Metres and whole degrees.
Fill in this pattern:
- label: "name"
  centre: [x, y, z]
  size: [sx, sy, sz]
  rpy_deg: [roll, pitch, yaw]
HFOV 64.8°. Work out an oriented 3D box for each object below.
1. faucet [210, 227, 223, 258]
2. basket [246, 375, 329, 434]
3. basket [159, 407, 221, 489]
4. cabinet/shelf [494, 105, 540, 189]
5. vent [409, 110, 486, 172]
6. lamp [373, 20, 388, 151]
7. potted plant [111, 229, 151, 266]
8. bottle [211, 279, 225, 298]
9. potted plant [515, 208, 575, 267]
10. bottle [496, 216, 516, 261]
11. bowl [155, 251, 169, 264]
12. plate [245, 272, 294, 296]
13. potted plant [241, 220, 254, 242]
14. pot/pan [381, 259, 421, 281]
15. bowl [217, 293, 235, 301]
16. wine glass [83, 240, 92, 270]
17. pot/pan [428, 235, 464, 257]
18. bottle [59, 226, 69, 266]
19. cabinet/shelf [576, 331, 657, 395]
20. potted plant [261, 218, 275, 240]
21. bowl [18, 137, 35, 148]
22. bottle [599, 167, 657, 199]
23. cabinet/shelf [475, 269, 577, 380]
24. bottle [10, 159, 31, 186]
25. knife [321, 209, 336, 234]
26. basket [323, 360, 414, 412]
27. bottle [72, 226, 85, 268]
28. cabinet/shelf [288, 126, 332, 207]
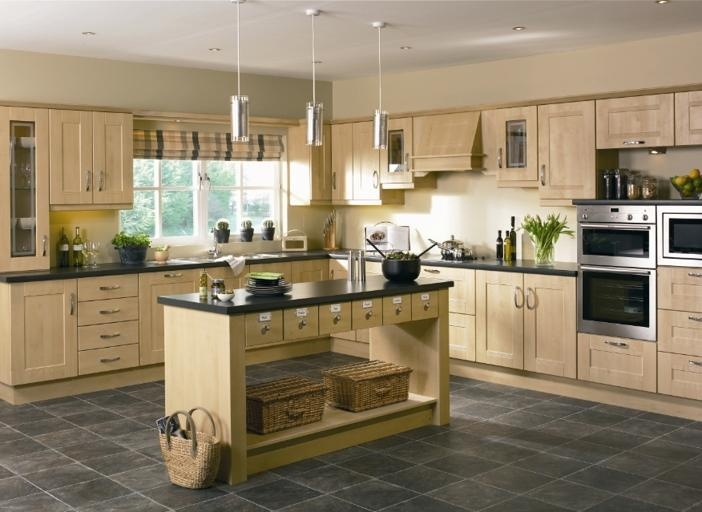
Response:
- label: "faucet"
  centre: [-1.589, -0.162, 6.512]
  size: [0.123, 0.328, 0.336]
  rpy_deg: [-2, 5, -13]
- label: "basket"
  centre: [-0.508, 1.055, 3.937]
  size: [0.610, 0.263, 0.339]
  rpy_deg: [-4, 6, -36]
- label: "basket"
  centre: [-1.008, 1.202, 3.529]
  size: [0.483, 0.374, 0.277]
  rpy_deg: [-3, -4, 33]
- label: "cabinet/shelf"
  centre: [1.820, -1.103, 5.682]
  size: [0.466, 0.759, 0.531]
  rpy_deg: [-11, 12, -41]
- label: "vent"
  centre: [1.194, -1.279, 6.160]
  size: [0.460, 0.740, 1.124]
  rpy_deg: [2, 3, -37]
- label: "lamp"
  centre: [0.201, -1.227, 4.002]
  size: [0.148, 0.891, 0.131]
  rpy_deg: [2, 6, 17]
- label: "potted plant"
  centre: [-2.438, -0.066, 5.904]
  size: [0.501, 0.297, 0.368]
  rpy_deg: [3, 3, -10]
- label: "bottle"
  centre: [-0.882, 0.218, 3.739]
  size: [0.126, 0.107, 0.110]
  rpy_deg: [0, 3, -5]
- label: "potted plant"
  centre: [1.989, -0.148, 5.656]
  size: [0.583, 0.484, 0.578]
  rpy_deg: [6, -5, -33]
- label: "bottle"
  centre: [1.671, -0.197, 5.924]
  size: [0.208, 0.459, 0.270]
  rpy_deg: [1, 5, 15]
- label: "bowl"
  centre: [-2.062, 0.013, 6.022]
  size: [0.150, 0.083, 0.127]
  rpy_deg: [0, 1, -21]
- label: "plate"
  centre: [-0.555, 0.193, 3.920]
  size: [0.218, 0.078, 0.205]
  rpy_deg: [2, 3, 27]
- label: "potted plant"
  centre: [-1.304, -0.317, 6.933]
  size: [0.163, 0.265, 0.211]
  rpy_deg: [-1, 5, -10]
- label: "pot/pan"
  centre: [0.408, 0.090, 4.522]
  size: [0.274, 0.115, 0.221]
  rpy_deg: [-1, 5, -21]
- label: "bowl"
  centre: [-0.825, 0.267, 3.634]
  size: [0.103, 0.048, 0.123]
  rpy_deg: [-1, 4, -14]
- label: "wine glass"
  centre: [-2.658, -0.020, 5.604]
  size: [0.118, 0.241, 0.318]
  rpy_deg: [-3, 5, -26]
- label: "pot/pan"
  centre: [1.132, -0.108, 6.192]
  size: [0.468, 0.211, 0.298]
  rpy_deg: [-1, 4, -35]
- label: "bottle"
  centre: [-2.895, -0.089, 5.576]
  size: [0.104, 0.379, 0.206]
  rpy_deg: [-3, 5, -23]
- label: "cabinet/shelf"
  centre: [2.518, 0.948, 4.942]
  size: [0.487, 0.432, 0.788]
  rpy_deg: [2, -2, -31]
- label: "potted plant"
  centre: [-1.060, -0.327, 7.075]
  size: [0.154, 0.263, 0.115]
  rpy_deg: [-2, 5, -17]
- label: "bowl"
  centre: [-3.046, -1.055, 5.175]
  size: [0.193, 0.095, 0.095]
  rpy_deg: [-1, 5, -26]
- label: "bottle"
  centre: [2.522, -0.619, 4.997]
  size: [0.324, 0.322, 0.579]
  rpy_deg: [-6, 7, -45]
- label: "cabinet/shelf"
  centre: [1.531, 0.639, 5.488]
  size: [1.343, 0.985, 0.602]
  rpy_deg: [9, -14, -28]
- label: "bottle"
  centre: [-3.078, -0.770, 5.166]
  size: [0.166, 0.230, 0.009]
  rpy_deg: [-4, 6, -39]
- label: "knife"
  centre: [-0.279, -0.461, 7.458]
  size: [0.196, 0.341, 0.114]
  rpy_deg: [-3, 5, -23]
- label: "basket"
  centre: [0.118, 1.016, 4.366]
  size: [0.411, 0.215, 0.604]
  rpy_deg: [0, 1, 43]
- label: "bottle"
  centre: [-2.779, -0.102, 5.628]
  size: [0.114, 0.396, 0.319]
  rpy_deg: [-3, 5, -26]
- label: "cabinet/shelf"
  centre: [-0.646, -1.185, 7.239]
  size: [0.618, 0.822, 0.592]
  rpy_deg: [-20, 30, -31]
